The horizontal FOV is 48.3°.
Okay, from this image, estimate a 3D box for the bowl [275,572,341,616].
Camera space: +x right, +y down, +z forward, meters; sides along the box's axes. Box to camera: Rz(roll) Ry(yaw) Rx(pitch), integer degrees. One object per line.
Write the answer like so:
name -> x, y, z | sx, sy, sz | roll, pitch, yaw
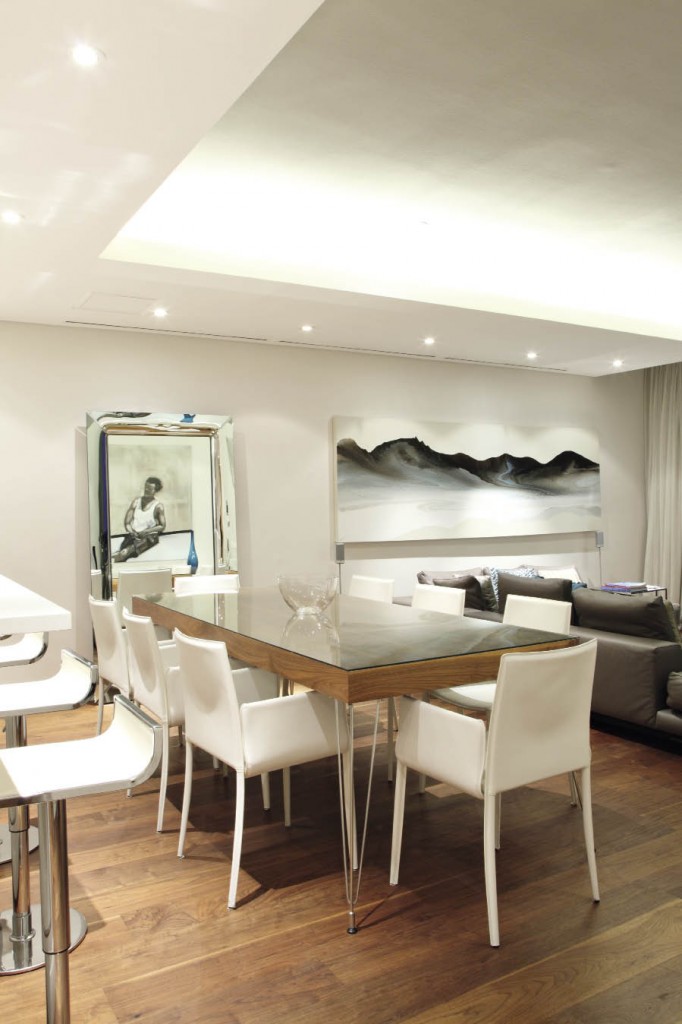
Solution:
bowl -> -0.121, 0.316, 2.964 | 0.171, 0.106, 0.171 | -1, -3, 0
